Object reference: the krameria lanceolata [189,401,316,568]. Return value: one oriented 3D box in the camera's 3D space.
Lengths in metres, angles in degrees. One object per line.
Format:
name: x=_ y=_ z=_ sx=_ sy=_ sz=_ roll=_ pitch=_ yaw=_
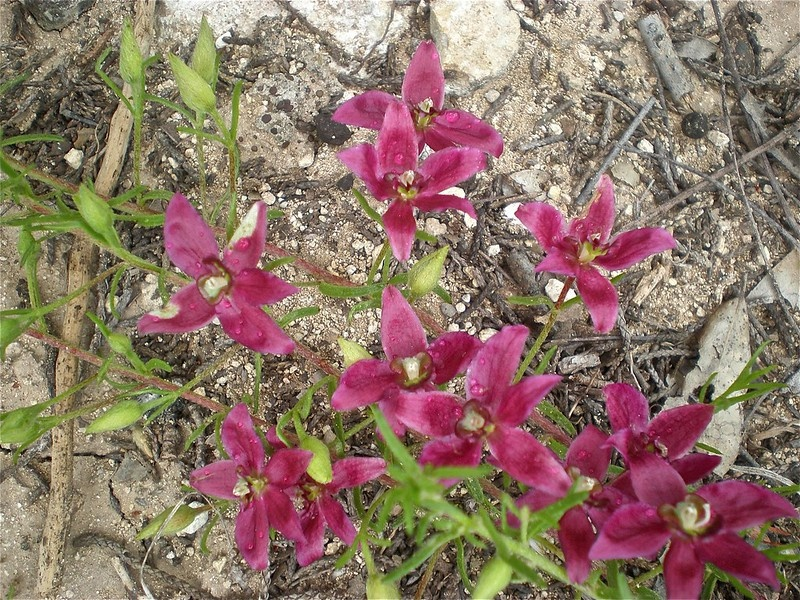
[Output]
krameria lanceolata: x=-0.571 y=0.744 z=3.190 sx=0.511 sy=0.466 sz=0.256 roll=33 pitch=38 yaw=18
